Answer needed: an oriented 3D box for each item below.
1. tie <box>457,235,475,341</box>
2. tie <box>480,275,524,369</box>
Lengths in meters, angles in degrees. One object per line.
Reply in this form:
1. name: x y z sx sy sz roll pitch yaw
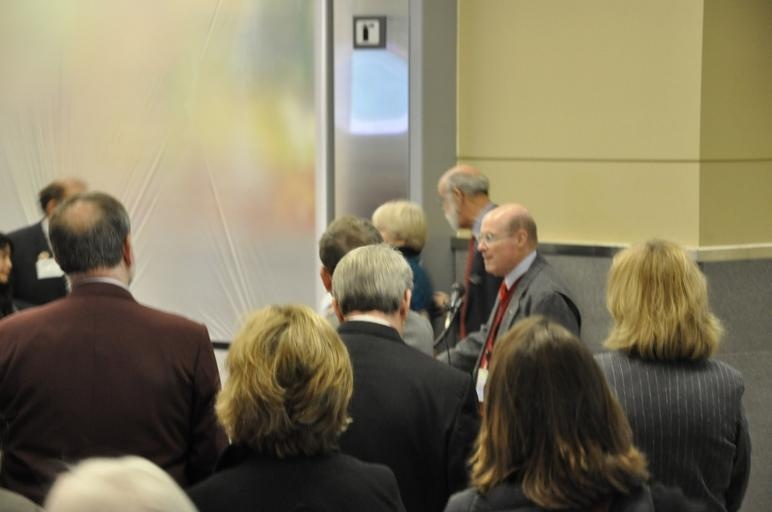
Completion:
1. tie: 0.526 0.202 4.646 0.111 0.691 0.113 6 6 7
2. tie: 0.590 0.358 3.827 0.100 0.403 0.282 26 21 26
